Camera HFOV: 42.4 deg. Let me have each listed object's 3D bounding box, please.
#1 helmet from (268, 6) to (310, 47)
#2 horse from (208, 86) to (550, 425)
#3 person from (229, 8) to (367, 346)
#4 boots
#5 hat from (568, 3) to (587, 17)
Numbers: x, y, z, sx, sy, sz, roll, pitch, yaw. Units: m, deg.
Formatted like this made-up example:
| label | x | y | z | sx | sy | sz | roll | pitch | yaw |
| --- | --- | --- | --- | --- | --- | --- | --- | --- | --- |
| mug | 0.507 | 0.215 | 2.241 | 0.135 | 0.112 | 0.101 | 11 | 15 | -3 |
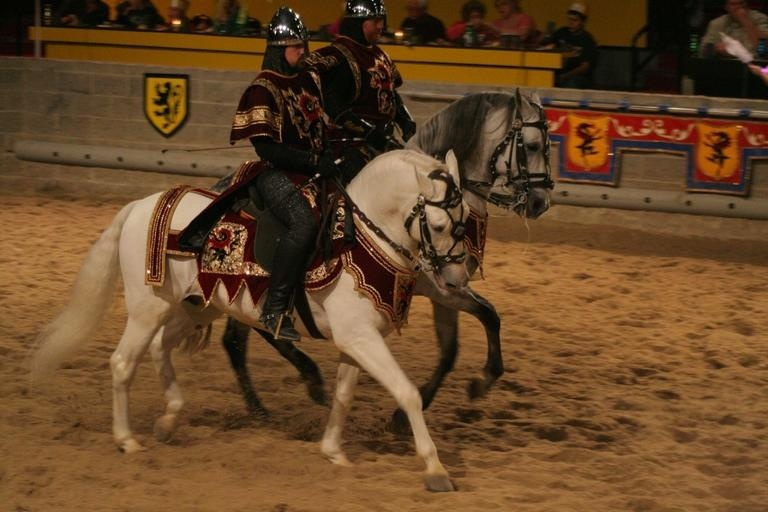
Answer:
| label | x | y | z | sx | sy | sz | roll | pitch | yaw |
| --- | --- | --- | --- | --- | --- | --- | --- | --- | --- |
| helmet | -0.910 | -1.889 | 8.283 | 0.494 | 0.277 | 0.352 | -1 | 2 | -14 |
| horse | -0.075 | -0.061 | 10.477 | 1.533 | 3.076 | 5.497 | 7 | 0 | -38 |
| person | -0.738 | -0.686 | 8.202 | 0.884 | 2.725 | 0.924 | -2 | 15 | -32 |
| boots | -0.796 | 0.207 | 8.088 | 0.372 | 0.975 | 0.307 | 12 | 14 | 25 |
| hat | 2.793 | -3.561 | 14.333 | 0.234 | 0.215 | 0.338 | 6 | 10 | 7 |
